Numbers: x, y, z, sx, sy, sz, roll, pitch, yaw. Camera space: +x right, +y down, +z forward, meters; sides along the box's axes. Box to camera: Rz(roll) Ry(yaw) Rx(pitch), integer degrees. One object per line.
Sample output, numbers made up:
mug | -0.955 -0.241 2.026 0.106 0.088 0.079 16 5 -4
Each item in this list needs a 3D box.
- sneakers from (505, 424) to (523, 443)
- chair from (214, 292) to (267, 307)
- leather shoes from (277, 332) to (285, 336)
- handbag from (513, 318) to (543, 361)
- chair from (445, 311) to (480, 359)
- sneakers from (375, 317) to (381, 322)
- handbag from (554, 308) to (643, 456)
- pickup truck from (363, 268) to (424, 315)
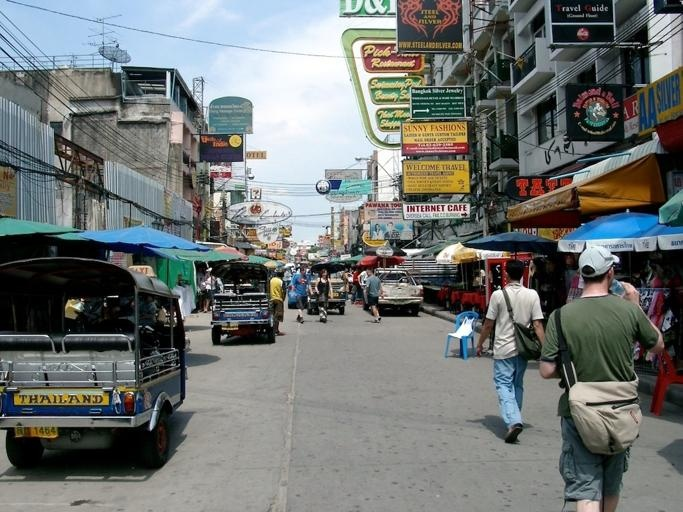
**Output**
sneakers | 2.349 2.406 11.135 0.135 0.158 0.375 3 -38 -8
chair | -2.524 1.093 20.723 1.387 0.359 0.303 -3 -4 -3
leather shoes | -1.717 2.217 23.525 0.243 0.108 0.078 0 3 -3
handbag | 2.457 1.109 10.788 0.242 0.542 0.492 -31 -19 28
chair | 2.654 1.682 17.850 0.499 0.910 0.655 6 12 39
sneakers | 1.255 2.141 27.947 0.127 0.154 0.381 -3 -11 1
handbag | 2.627 1.277 8.372 0.752 1.505 0.331 -5 -4 18
pickup truck | 1.965 1.404 31.392 1.618 1.430 3.120 1 -3 -2
